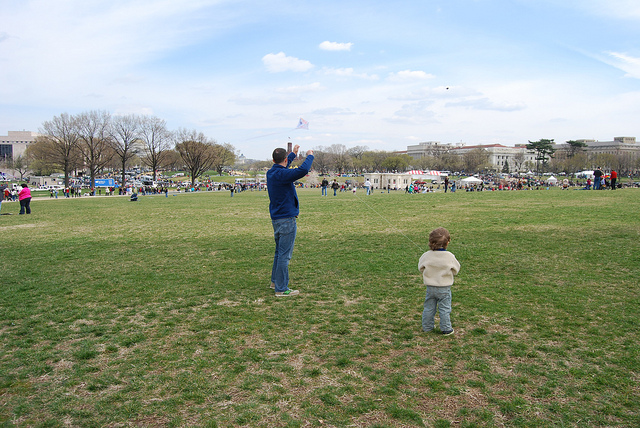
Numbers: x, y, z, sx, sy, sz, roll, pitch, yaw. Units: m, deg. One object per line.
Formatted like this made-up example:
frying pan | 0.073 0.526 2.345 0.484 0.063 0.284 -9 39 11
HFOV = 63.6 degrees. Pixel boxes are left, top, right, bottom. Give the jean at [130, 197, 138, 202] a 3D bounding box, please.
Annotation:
jean | -14.045 -1.107 39.059 0.608 0.325 0.467 -1 -2 41

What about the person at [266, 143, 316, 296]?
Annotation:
person | -0.658 0.137 10.346 0.901 2.990 1.402 -3 10 -10

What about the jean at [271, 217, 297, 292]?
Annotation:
jean | -0.719 0.814 10.438 0.507 1.534 0.478 -3 10 -6

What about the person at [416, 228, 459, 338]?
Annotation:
person | 2.126 1.096 9.258 0.660 1.789 1.349 1 10 12

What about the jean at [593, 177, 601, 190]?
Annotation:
jean | 20.452 -2.242 37.930 0.302 1.031 1.273 4 11 27
